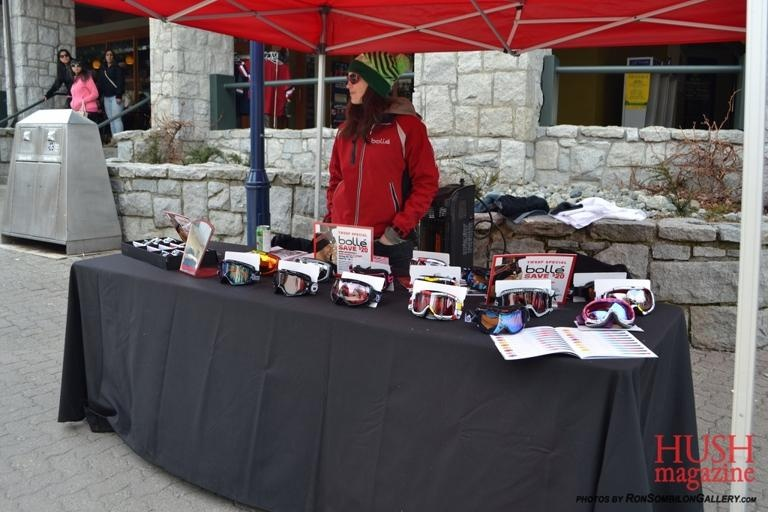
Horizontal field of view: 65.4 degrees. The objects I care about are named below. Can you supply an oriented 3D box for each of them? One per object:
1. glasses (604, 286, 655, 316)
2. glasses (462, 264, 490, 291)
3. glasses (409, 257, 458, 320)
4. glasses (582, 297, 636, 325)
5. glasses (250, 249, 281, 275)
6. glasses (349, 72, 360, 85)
[{"bbox_3d":[1.289,0.228,3.087,0.156,0.097,0.197,9,-3,-12],"label":"glasses"},{"bbox_3d":[0.523,0.130,3.394,0.137,0.111,0.107,8,2,-9],"label":"glasses"},{"bbox_3d":[0.277,0.181,3.134,0.215,0.125,0.299,5,24,5],"label":"glasses"},{"bbox_3d":[1.099,0.280,2.962,0.256,0.125,0.147,2,8,-2],"label":"glasses"},{"bbox_3d":[-0.704,0.047,3.596,0.116,0.160,0.071,2,16,3],"label":"glasses"},{"bbox_3d":[-0.208,-1.208,4.068,0.069,0.075,0.034,2,13,33],"label":"glasses"}]
